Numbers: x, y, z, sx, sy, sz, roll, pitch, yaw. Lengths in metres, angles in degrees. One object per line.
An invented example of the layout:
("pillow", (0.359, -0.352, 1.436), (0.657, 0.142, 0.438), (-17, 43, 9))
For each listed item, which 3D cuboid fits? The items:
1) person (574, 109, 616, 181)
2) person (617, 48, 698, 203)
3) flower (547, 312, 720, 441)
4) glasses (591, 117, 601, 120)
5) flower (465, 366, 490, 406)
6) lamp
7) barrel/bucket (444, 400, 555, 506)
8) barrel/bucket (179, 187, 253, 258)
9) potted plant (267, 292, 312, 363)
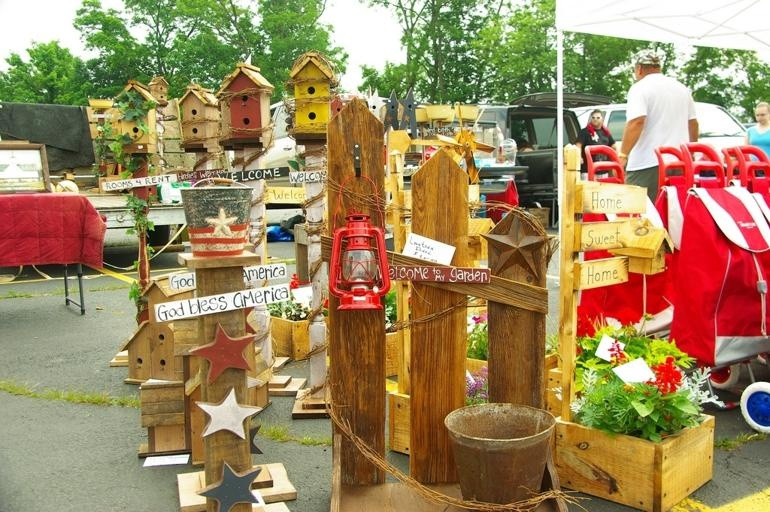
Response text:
("person", (3.664, -1.706, 12.183), (0.726, 1.586, 0.468), (-2, 7, -2))
("person", (2.855, -1.378, 7.289), (0.704, 1.463, 1.102), (4, 15, 23))
("flower", (1.670, 0.889, 4.825), (0.785, 0.263, 0.801), (18, 26, 39))
("glasses", (3.648, -2.390, 12.124), (0.146, 0.045, 0.051), (-7, 15, -20))
("flower", (0.688, 0.978, 5.280), (0.248, 0.267, 0.248), (-2, -2, 33))
("lamp", (-0.170, -0.015, 4.322), (0.393, 0.778, 0.565), (-4, 14, -5))
("barrel/bucket", (0.670, 1.174, 4.262), (0.612, 0.390, 0.586), (-3, -4, 0))
("barrel/bucket", (-1.017, -0.209, 4.442), (0.454, 0.357, 0.423), (-2, 1, 0))
("potted plant", (-0.869, 0.682, 6.444), (0.427, 0.511, 0.738), (-3, 5, -23))
